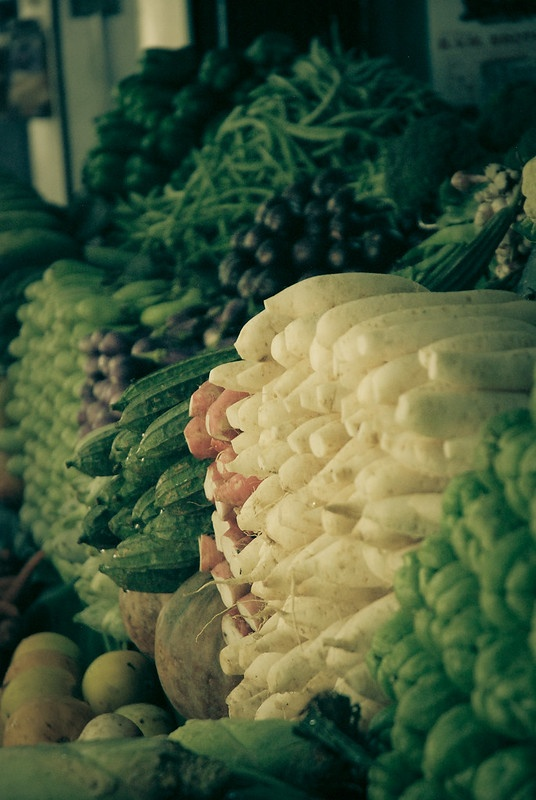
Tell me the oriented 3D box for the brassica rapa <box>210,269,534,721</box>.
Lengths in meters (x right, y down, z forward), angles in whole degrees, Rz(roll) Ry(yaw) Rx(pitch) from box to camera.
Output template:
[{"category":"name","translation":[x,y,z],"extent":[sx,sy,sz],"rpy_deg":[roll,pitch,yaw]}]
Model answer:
[{"category":"brassica rapa","translation":[0.201,0.210,2.113],"extent":[0.762,0.936,0.532],"rpy_deg":[-5,12,7]}]
